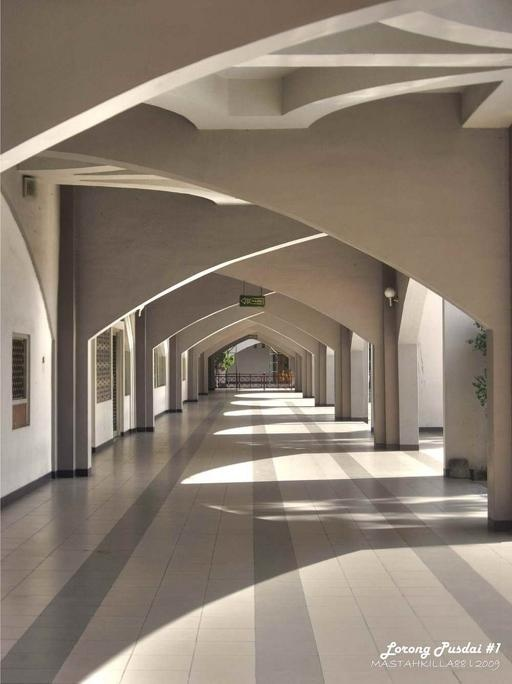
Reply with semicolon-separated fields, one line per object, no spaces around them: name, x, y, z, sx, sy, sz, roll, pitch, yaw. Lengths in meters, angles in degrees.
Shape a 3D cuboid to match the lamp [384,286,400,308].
lamp;2.367;-0.792;10.741;0.223;0.370;0.095;2;11;29
